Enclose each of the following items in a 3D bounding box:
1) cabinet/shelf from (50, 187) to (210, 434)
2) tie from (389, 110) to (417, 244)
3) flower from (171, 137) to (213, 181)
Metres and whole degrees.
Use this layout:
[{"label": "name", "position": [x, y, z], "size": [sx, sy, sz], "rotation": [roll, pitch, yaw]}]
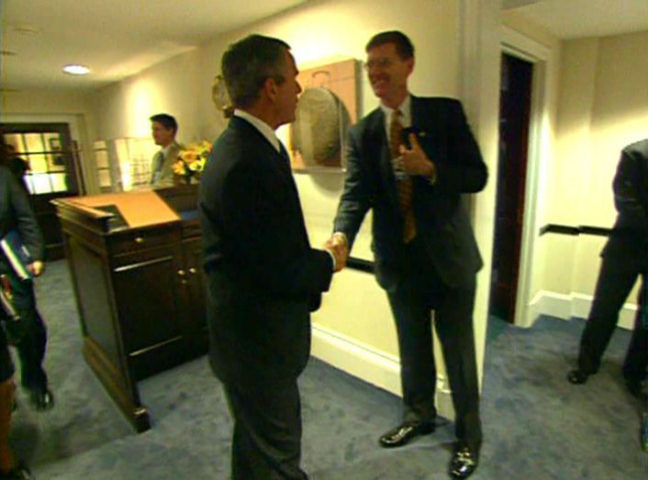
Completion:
[{"label": "cabinet/shelf", "position": [-0.769, 0.208, 2.541], "size": [0.662, 1.004, 0.753], "rotation": [20, 30, 27]}, {"label": "tie", "position": [0.259, -0.207, 1.759], "size": [0.092, 0.425, 0.036], "rotation": [2, 15, 18]}, {"label": "flower", "position": [-0.534, -0.310, 2.205], "size": [0.149, 0.137, 0.142], "rotation": [10, 27, 42]}]
